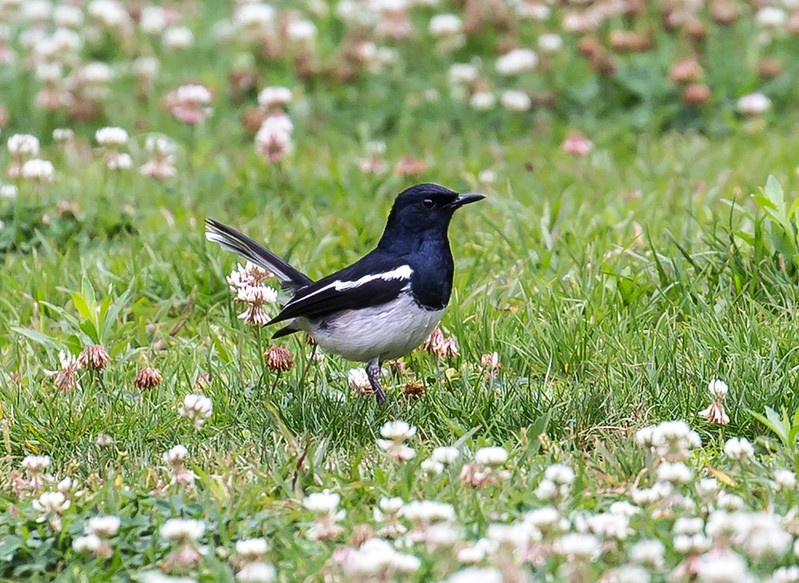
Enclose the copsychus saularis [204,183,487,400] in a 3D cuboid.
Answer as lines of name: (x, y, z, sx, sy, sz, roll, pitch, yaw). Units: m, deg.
copsychus saularis: (-0.277, 0.040, 4.391, 1.228, 1.025, 0.471, -4, -4, 13)
